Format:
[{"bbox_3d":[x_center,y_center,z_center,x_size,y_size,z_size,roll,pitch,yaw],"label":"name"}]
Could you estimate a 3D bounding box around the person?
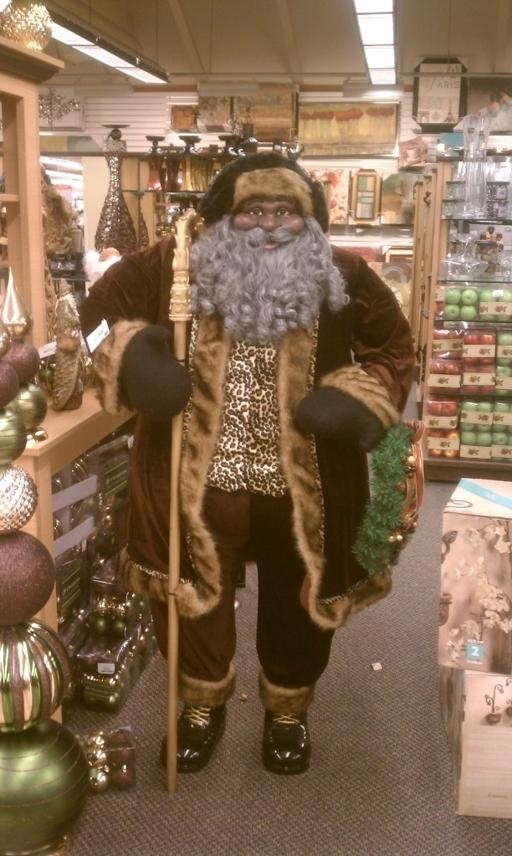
[{"bbox_3d":[-0.009,0.082,1.361,0.692,1.346,0.549,3,4,7],"label":"person"}]
